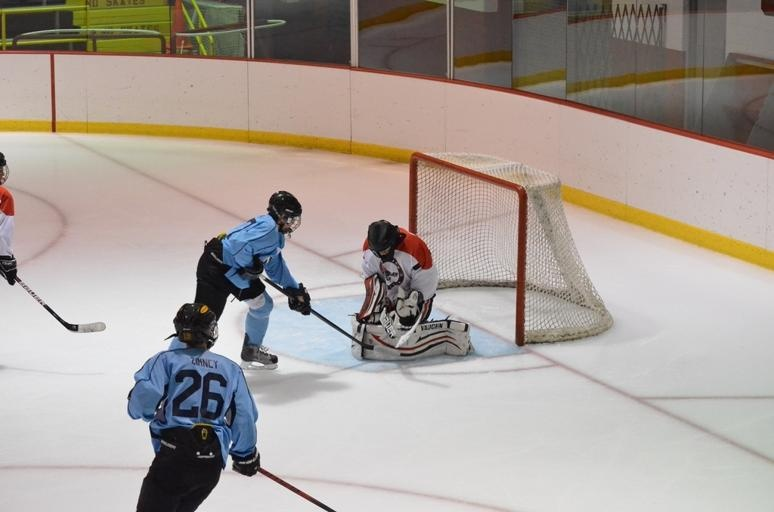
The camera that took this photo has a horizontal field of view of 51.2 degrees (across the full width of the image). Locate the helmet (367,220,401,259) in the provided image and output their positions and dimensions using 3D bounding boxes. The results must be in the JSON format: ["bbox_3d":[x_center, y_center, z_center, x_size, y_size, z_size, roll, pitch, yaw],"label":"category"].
[{"bbox_3d":[-0.023,-0.116,5.950,0.248,0.309,0.271,1,13,0],"label":"helmet"}]

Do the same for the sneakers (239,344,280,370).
[{"bbox_3d":[-0.961,0.757,6.028,0.306,0.170,0.139,0,4,-4],"label":"sneakers"}]

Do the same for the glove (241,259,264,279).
[{"bbox_3d":[-0.958,0.083,5.780,0.159,0.112,0.151,-2,-24,-29],"label":"glove"}]

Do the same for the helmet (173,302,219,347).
[{"bbox_3d":[-0.981,0.347,4.277,0.204,0.214,0.243,9,15,5],"label":"helmet"}]

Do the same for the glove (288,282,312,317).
[{"bbox_3d":[-0.640,0.318,6.032,0.184,0.217,0.091,-7,-1,24],"label":"glove"}]

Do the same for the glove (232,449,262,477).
[{"bbox_3d":[-0.753,1.094,4.286,0.170,0.055,0.120,12,21,28],"label":"glove"}]

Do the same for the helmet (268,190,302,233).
[{"bbox_3d":[-0.737,-0.309,5.764,0.212,0.313,0.212,-1,13,-8],"label":"helmet"}]

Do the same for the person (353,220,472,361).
[{"bbox_3d":[0.207,0.313,6.541,1.073,1.185,0.917,7,14,32],"label":"person"}]

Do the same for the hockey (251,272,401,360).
[{"bbox_3d":[-0.486,0.495,6.386,0.967,0.074,0.133,37,15,-16],"label":"hockey"}]
